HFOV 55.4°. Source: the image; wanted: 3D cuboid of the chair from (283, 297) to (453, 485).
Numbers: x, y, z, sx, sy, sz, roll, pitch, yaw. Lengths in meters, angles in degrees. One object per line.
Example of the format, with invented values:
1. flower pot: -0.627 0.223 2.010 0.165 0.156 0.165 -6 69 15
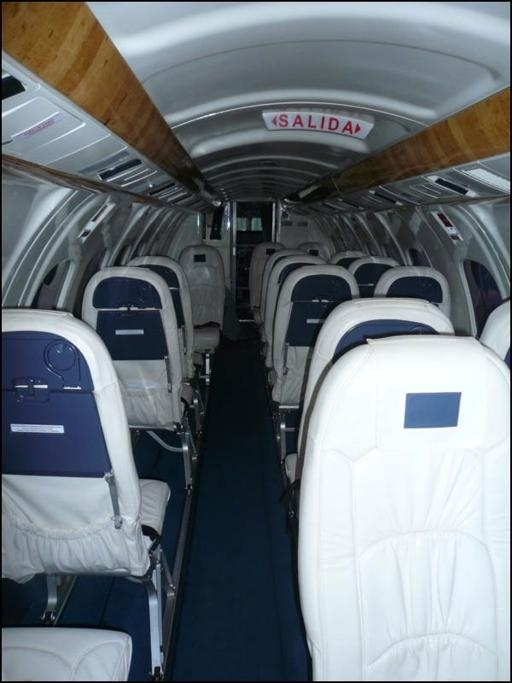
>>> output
1. chair: 0.471 0.162 2.145 0.526 0.945 0.680 2 10 -3
